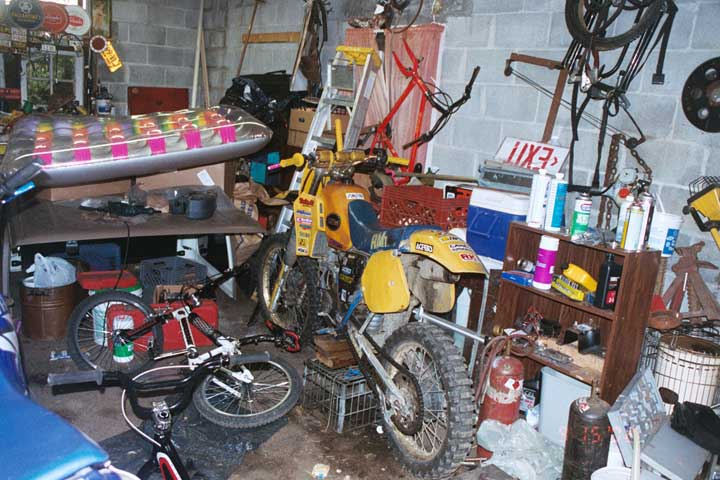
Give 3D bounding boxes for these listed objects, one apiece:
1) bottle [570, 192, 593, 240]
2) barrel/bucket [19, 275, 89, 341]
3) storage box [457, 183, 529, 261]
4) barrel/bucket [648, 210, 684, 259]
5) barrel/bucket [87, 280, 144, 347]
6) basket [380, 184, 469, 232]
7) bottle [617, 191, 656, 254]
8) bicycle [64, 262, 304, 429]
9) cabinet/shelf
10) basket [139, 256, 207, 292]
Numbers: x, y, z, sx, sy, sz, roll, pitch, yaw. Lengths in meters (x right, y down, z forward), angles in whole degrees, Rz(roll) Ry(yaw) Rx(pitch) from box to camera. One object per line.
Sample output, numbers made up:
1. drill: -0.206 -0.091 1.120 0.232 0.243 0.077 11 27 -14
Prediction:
1. bottle: 1.531 -0.174 3.698 0.113 0.293 0.310 11 17 21
2. barrel/bucket: -2.856 0.641 4.792 0.364 0.409 0.372 4 -5 0
3. storage box: 1.152 -0.152 4.477 0.513 0.538 0.580 -12 26 -36
4. barrel/bucket: 2.221 -0.049 4.006 0.254 0.294 0.259 9 7 -1
5. barrel/bucket: -1.999 0.612 4.374 0.356 0.638 0.352 17 50 -21
6. basket: 0.463 -0.276 4.709 0.554 0.243 0.413 7 7 4
7. bottle: 1.807 -0.122 3.523 0.185 0.356 0.267 11 17 22
8. bicycle: -1.417 0.837 4.153 1.604 1.045 0.961 19 34 19
9. cabinet/shelf: 1.759 0.674 4.531 0.727 1.336 1.339 2 -14 25
10. basket: -1.740 0.286 5.037 0.420 0.272 0.425 22 18 28
